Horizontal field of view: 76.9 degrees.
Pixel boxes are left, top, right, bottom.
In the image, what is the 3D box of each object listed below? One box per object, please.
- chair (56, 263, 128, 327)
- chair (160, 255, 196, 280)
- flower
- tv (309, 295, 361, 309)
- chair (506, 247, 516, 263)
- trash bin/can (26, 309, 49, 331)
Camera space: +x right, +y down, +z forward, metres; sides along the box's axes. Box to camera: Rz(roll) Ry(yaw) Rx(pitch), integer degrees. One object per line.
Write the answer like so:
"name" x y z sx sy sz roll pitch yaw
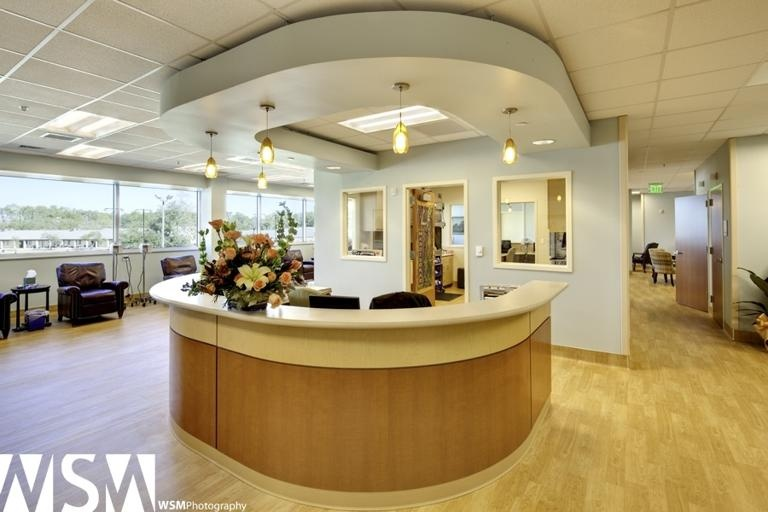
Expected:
"chair" -5.668 0.656 9.336 1.050 1.040 1.093 3 3 41
"chair" -4.590 0.241 10.682 0.523 0.685 0.500 2 8 16
"flower" -1.391 0.069 5.137 1.100 1.143 1.107 -4 -1 45
"tv" -0.533 0.481 5.186 0.534 0.123 0.172 1 3 5
"chair" 3.128 -0.053 11.741 0.190 0.327 0.639 1 3 17
"trash bin/can" -6.095 1.069 8.490 0.302 0.332 0.381 -3 0 34
